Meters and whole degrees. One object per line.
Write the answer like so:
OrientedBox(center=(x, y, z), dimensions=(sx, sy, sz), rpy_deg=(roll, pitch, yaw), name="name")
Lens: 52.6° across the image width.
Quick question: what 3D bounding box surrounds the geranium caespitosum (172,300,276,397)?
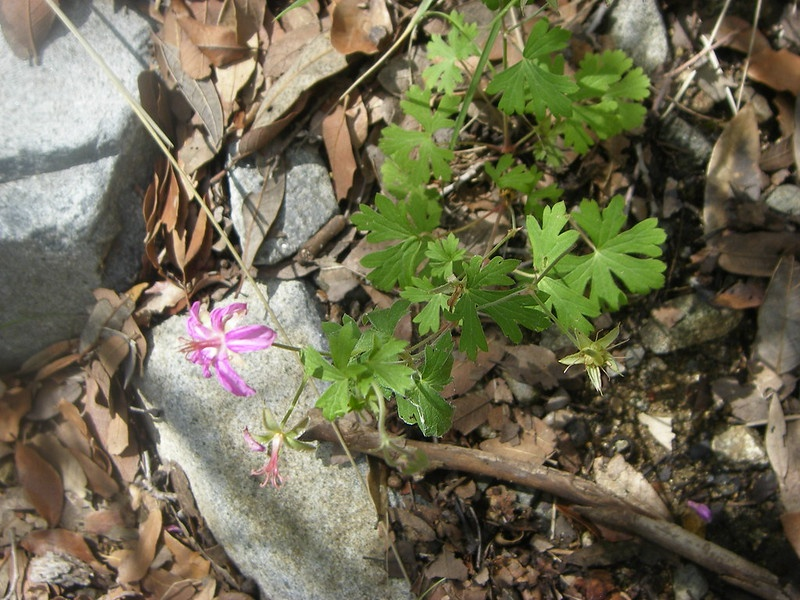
OrientedBox(center=(-0.979, 0.232, 4.502), dimensions=(0.437, 0.218, 0.578), rpy_deg=(-13, 83, -8), name="geranium caespitosum")
